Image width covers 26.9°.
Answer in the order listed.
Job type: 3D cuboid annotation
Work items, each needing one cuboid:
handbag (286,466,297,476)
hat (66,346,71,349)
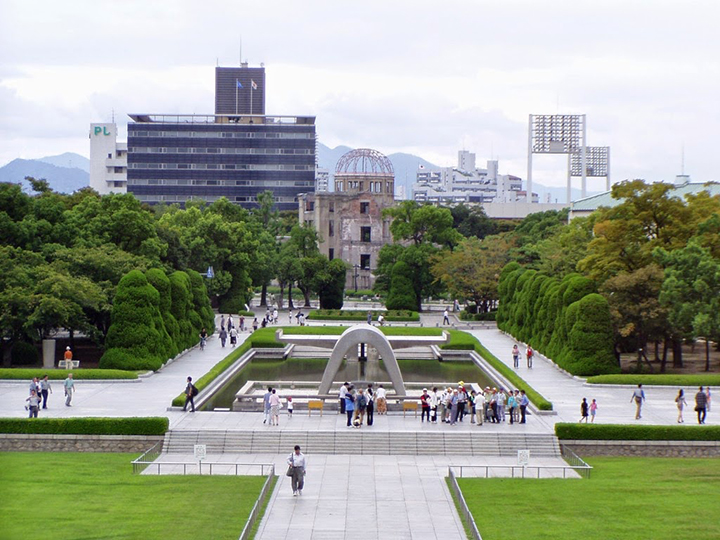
[{"bbox_3d":[-3.499,9.993,75.184,0.463,0.622,0.376,0,2,-21],"label":"handbag"},{"bbox_3d":[-18.970,5.020,97.533,0.441,0.192,0.571,1,-2,-8],"label":"hat"}]
